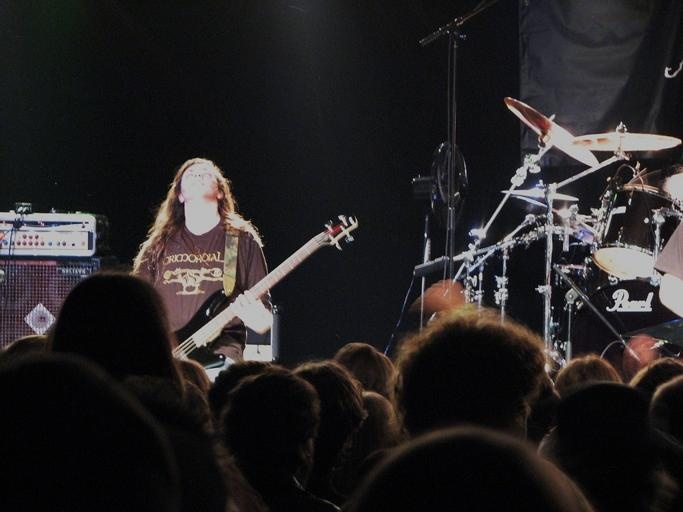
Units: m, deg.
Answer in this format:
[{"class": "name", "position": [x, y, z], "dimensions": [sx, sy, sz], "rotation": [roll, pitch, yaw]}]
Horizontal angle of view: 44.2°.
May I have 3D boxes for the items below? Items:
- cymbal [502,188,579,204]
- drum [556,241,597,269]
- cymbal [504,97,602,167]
[{"class": "cymbal", "position": [1.696, -0.538, 7.351], "dimensions": [0.305, 0.098, 0.728], "rotation": [5, 4, -41]}, {"class": "drum", "position": [1.952, -0.017, 7.103], "dimensions": [0.347, 0.207, 0.290], "rotation": [9, 3, 25]}, {"class": "cymbal", "position": [1.827, -1.053, 7.109], "dimensions": [0.742, 0.182, 0.267], "rotation": [38, 22, -2]}]
